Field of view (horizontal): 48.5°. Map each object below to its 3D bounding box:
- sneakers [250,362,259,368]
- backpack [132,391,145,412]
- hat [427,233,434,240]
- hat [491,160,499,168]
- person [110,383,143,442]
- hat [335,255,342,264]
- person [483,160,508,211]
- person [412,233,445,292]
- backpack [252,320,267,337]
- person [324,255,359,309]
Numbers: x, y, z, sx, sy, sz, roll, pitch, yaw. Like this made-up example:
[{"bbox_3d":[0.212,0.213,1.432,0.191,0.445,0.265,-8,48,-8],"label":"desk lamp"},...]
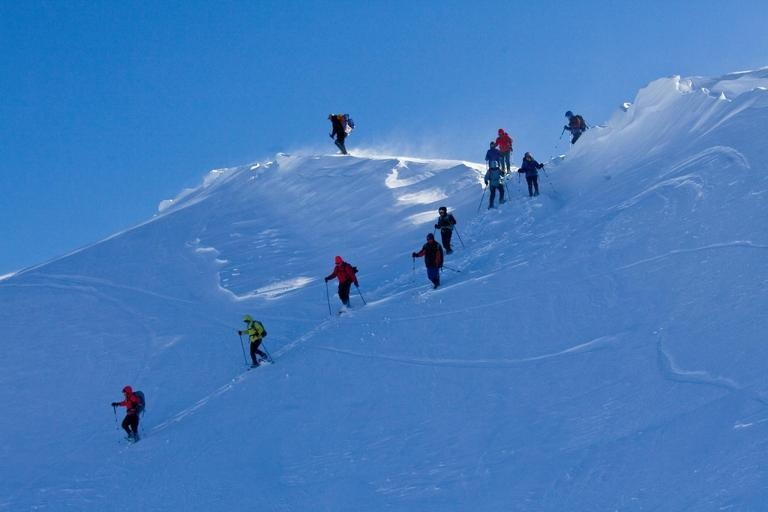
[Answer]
[{"bbox_3d":[-4.158,3.555,27.676,0.129,0.170,0.380,-1,-12,-31],"label":"sneakers"},{"bbox_3d":[-7.534,4.549,26.595,0.414,0.489,0.554,-11,42,-5],"label":"backpack"},{"bbox_3d":[1.666,-0.646,29.879,0.180,0.272,0.261,-3,-12,8],"label":"hat"},{"bbox_3d":[4.545,-3.719,34.474,0.227,0.313,0.390,9,28,45],"label":"hat"},{"bbox_3d":[-7.987,4.992,26.586,0.688,0.599,1.343,22,25,-35],"label":"person"},{"bbox_3d":[-1.540,0.134,29.843,0.209,0.232,0.288,-6,-8,-14],"label":"hat"},{"bbox_3d":[4.653,-2.983,34.840,0.961,1.909,0.587,-26,23,-36],"label":"person"},{"bbox_3d":[1.753,0.192,29.755,0.775,1.780,1.464,-14,19,-8],"label":"person"},{"bbox_3d":[-4.075,2.420,27.797,0.459,0.543,0.344,-9,19,8],"label":"backpack"},{"bbox_3d":[-1.514,1.060,31.229,1.193,2.168,1.036,11,-25,-38],"label":"person"}]
